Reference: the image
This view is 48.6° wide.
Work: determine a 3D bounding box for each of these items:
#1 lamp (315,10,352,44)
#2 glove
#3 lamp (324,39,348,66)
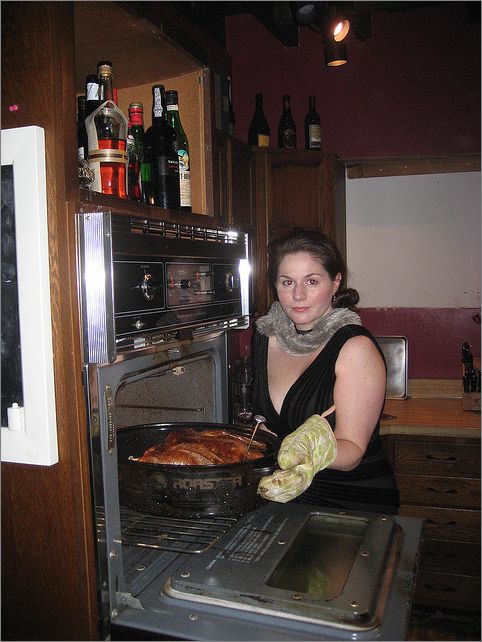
[{"bbox_3d":[0.323,-1.067,1.931,0.108,0.101,0.114,6,50,-9],"label":"lamp"},{"bbox_3d":[0.116,0.226,0.957,0.079,0.085,0.257,-2,10,26],"label":"glove"},{"bbox_3d":[0.361,-1.021,2.053,0.099,0.108,0.113,-1,-1,10],"label":"lamp"}]
